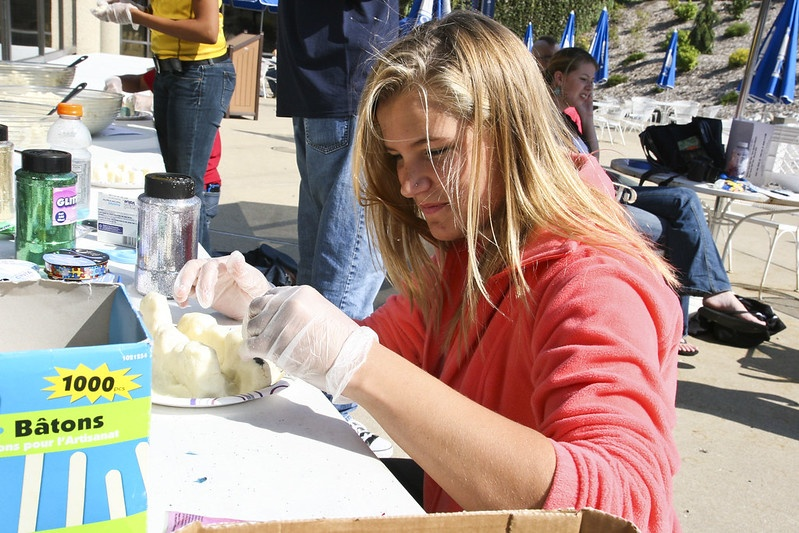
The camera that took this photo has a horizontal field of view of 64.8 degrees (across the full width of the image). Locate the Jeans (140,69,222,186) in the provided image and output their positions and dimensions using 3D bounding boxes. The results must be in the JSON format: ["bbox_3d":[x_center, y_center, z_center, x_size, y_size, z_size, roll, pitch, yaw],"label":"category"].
[{"bbox_3d":[-1.148,-0.744,3.344,0.337,0.313,1.093,8,17,-15],"label":"Jeans"}]

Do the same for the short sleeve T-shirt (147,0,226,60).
[{"bbox_3d":[-1.106,-1.234,3.272,0.257,0.328,0.191,16,31,27],"label":"short sleeve T-shirt"}]

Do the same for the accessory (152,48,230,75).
[{"bbox_3d":[-1.141,-1.090,3.367,0.243,0.057,0.179,-12,24,0],"label":"accessory"}]

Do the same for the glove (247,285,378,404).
[{"bbox_3d":[-0.212,0.192,1.547,0.337,0.199,0.134,31,-16,19],"label":"glove"}]
